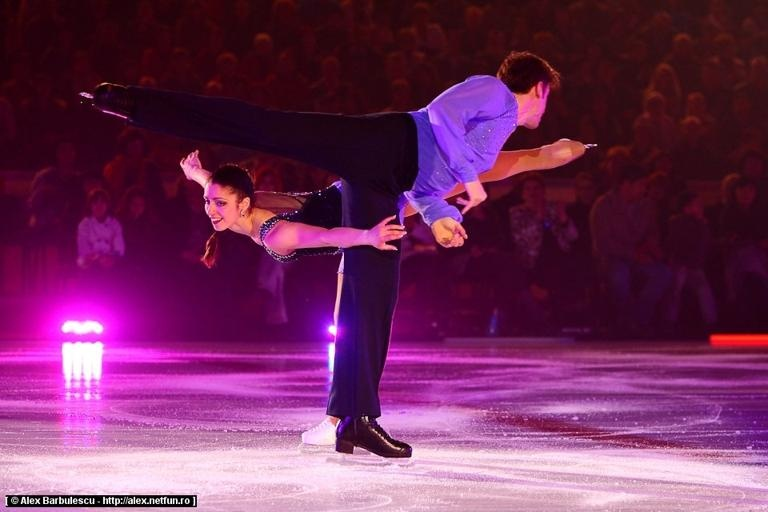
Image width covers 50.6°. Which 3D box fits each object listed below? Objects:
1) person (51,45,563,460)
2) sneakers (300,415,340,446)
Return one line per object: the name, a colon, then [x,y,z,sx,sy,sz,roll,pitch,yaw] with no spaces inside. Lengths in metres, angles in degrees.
person: [0.040,-0.100,3.057,2.239,0.973,0.964,1,-50,-26]
sneakers: [-0.253,0.720,3.352,0.216,0.081,0.076,-2,-6,27]
